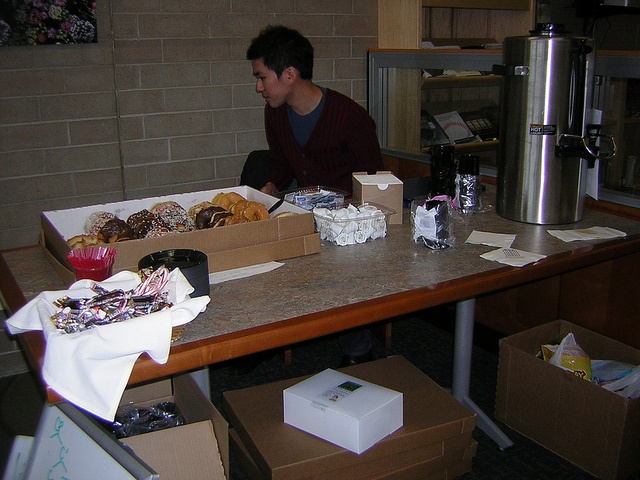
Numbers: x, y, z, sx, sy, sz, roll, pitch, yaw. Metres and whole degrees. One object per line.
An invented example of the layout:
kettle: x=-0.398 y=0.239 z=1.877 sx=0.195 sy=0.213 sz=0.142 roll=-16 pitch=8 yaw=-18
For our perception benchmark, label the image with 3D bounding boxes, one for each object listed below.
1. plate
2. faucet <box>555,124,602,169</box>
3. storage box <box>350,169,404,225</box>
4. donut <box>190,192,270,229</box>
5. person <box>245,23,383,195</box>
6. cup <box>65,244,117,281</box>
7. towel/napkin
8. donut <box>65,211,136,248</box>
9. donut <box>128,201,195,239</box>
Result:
plate: x=-0.374 y=0.063 z=1.277 sx=0.137 sy=0.083 sz=0.139 roll=-1 pitch=19 yaw=-6
faucet: x=0.874 y=-0.315 z=1.722 sx=0.125 sy=0.128 sz=0.113 roll=13 pitch=22 yaw=43
storage box: x=0.196 y=-0.171 z=1.860 sx=0.174 sy=0.172 sz=0.185 roll=-4 pitch=34 yaw=-7
donut: x=-0.313 y=-0.094 z=1.637 sx=0.153 sy=0.049 sz=0.163 roll=6 pitch=17 yaw=30
person: x=-0.064 y=-0.676 z=2.630 sx=0.539 sy=0.903 sz=0.714 roll=-24 pitch=50 yaw=-16
cup: x=-0.569 y=0.055 z=1.253 sx=0.091 sy=0.066 sz=0.093 roll=0 pitch=14 yaw=0
towel/napkin: x=-0.464 y=0.261 z=1.070 sx=0.335 sy=0.151 sz=0.341 roll=14 pitch=29 yaw=34
donut: x=-0.656 y=-0.049 z=1.483 sx=0.114 sy=0.059 sz=0.145 roll=-11 pitch=16 yaw=-39
donut: x=-0.503 y=-0.066 z=1.577 sx=0.136 sy=0.042 sz=0.135 roll=-14 pitch=26 yaw=-33
